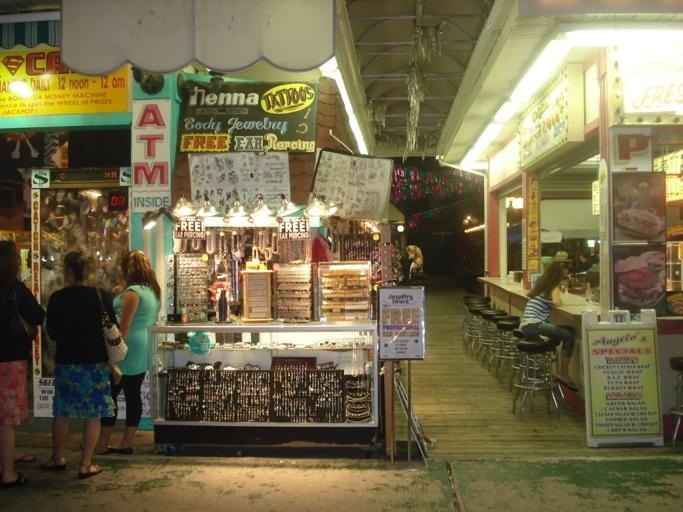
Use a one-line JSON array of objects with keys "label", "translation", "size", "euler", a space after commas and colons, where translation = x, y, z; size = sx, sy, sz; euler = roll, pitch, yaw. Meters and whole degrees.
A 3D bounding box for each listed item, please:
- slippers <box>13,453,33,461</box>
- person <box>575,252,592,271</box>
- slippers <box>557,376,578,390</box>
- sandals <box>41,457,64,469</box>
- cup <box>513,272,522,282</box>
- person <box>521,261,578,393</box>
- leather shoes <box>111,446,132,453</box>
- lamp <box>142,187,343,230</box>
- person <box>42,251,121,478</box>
[{"label": "slippers", "translation": [-3.228, 2.060, 7.196], "size": [0.143, 0.041, 0.082], "euler": [1, 7, -5]}, {"label": "person", "translation": [5.244, 0.128, 15.359], "size": [0.383, 0.405, 0.713], "euler": [-1, -5, 22]}, {"label": "slippers", "translation": [2.771, 1.587, 8.679], "size": [0.134, 0.149, 0.373], "euler": [-2, 8, -11]}, {"label": "sandals", "translation": [-2.854, 2.077, 7.007], "size": [0.202, 0.092, 0.108], "euler": [4, -1, 21]}, {"label": "cup", "translation": [3.010, 0.364, 12.173], "size": [0.129, 0.250, 0.249], "euler": [2, 2, 6]}, {"label": "person", "translation": [2.556, 0.855, 8.797], "size": [0.649, 1.500, 0.344], "euler": [1, 8, 14]}, {"label": "leather shoes", "translation": [-2.284, 2.036, 7.375], "size": [0.202, 0.063, 0.077], "euler": [9, -6, 2]}, {"label": "lamp", "translation": [-1.103, -0.496, 8.023], "size": [2.187, 0.389, 0.752], "euler": [0, 8, 5]}, {"label": "person", "translation": [-2.574, 1.049, 6.989], "size": [0.645, 2.174, 0.504], "euler": [3, 8, 23]}]
